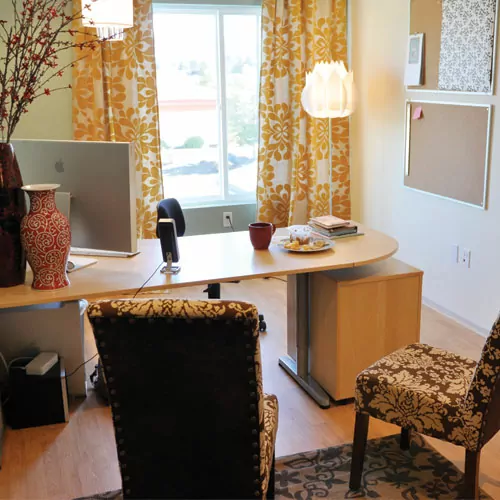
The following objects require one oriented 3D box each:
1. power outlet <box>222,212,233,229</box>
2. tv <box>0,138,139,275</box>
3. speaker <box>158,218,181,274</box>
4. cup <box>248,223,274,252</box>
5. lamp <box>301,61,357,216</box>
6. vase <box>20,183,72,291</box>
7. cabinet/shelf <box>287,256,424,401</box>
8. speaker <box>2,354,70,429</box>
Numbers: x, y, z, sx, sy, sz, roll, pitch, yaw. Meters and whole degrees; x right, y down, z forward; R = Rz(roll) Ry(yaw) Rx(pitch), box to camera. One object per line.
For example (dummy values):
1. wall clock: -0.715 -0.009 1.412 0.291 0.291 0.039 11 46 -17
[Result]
1. power outlet: -0.203 -0.268 4.191 0.106 0.201 0.039 -6 19 -7
2. tv: -0.781 -0.186 1.949 0.540 0.515 0.183 1 12 -18
3. speaker: -0.341 -0.012 1.976 0.081 0.218 0.120 -4 14 -12
4. cup: 0.053 -0.057 2.285 0.125 0.110 0.106 -3 10 -26
5. lamp: 0.621 -0.879 3.811 0.407 1.310 0.944 1 14 11
6. vase: -0.793 -0.044 1.840 0.171 0.394 0.123 -9 16 -27
7. cabinet/shelf: 0.521 0.294 2.661 0.616 0.961 0.587 -9 17 -26
8. speaker: -0.992 0.633 2.240 0.274 0.269 0.283 -1 4 -12
